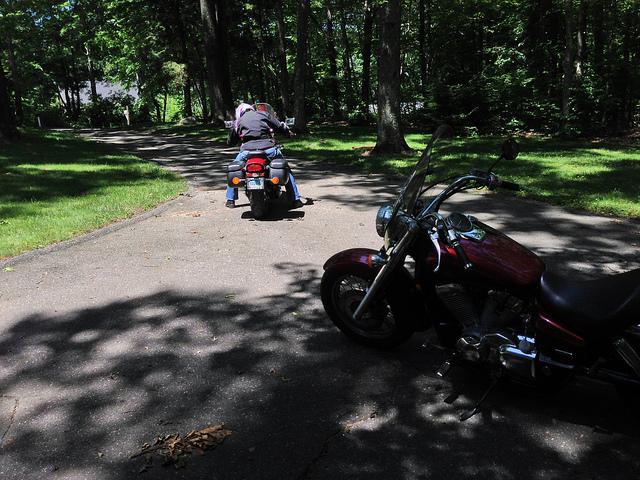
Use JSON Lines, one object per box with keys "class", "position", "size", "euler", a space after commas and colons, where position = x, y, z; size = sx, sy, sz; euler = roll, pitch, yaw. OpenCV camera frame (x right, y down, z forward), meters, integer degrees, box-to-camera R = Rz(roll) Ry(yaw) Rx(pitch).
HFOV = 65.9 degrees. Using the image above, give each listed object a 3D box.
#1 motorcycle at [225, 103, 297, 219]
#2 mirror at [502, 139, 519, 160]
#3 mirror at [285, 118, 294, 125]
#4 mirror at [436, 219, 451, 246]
{"class": "motorcycle", "position": [-0.900, -1.292, 9.467], "size": [1.130, 1.485, 2.106], "euler": [-4, 29, 5]}
{"class": "mirror", "position": [1.480, -0.705, 3.834], "size": [0.111, 0.182, 0.222], "euler": [0, 18, 20]}
{"class": "mirror", "position": [-0.540, -2.168, 9.016], "size": [0.158, 0.137, 0.037], "euler": [0, 1, 8]}
{"class": "mirror", "position": [0.970, -0.056, 3.975], "size": [0.065, 0.169, 0.128], "euler": [-8, -3, -22]}
